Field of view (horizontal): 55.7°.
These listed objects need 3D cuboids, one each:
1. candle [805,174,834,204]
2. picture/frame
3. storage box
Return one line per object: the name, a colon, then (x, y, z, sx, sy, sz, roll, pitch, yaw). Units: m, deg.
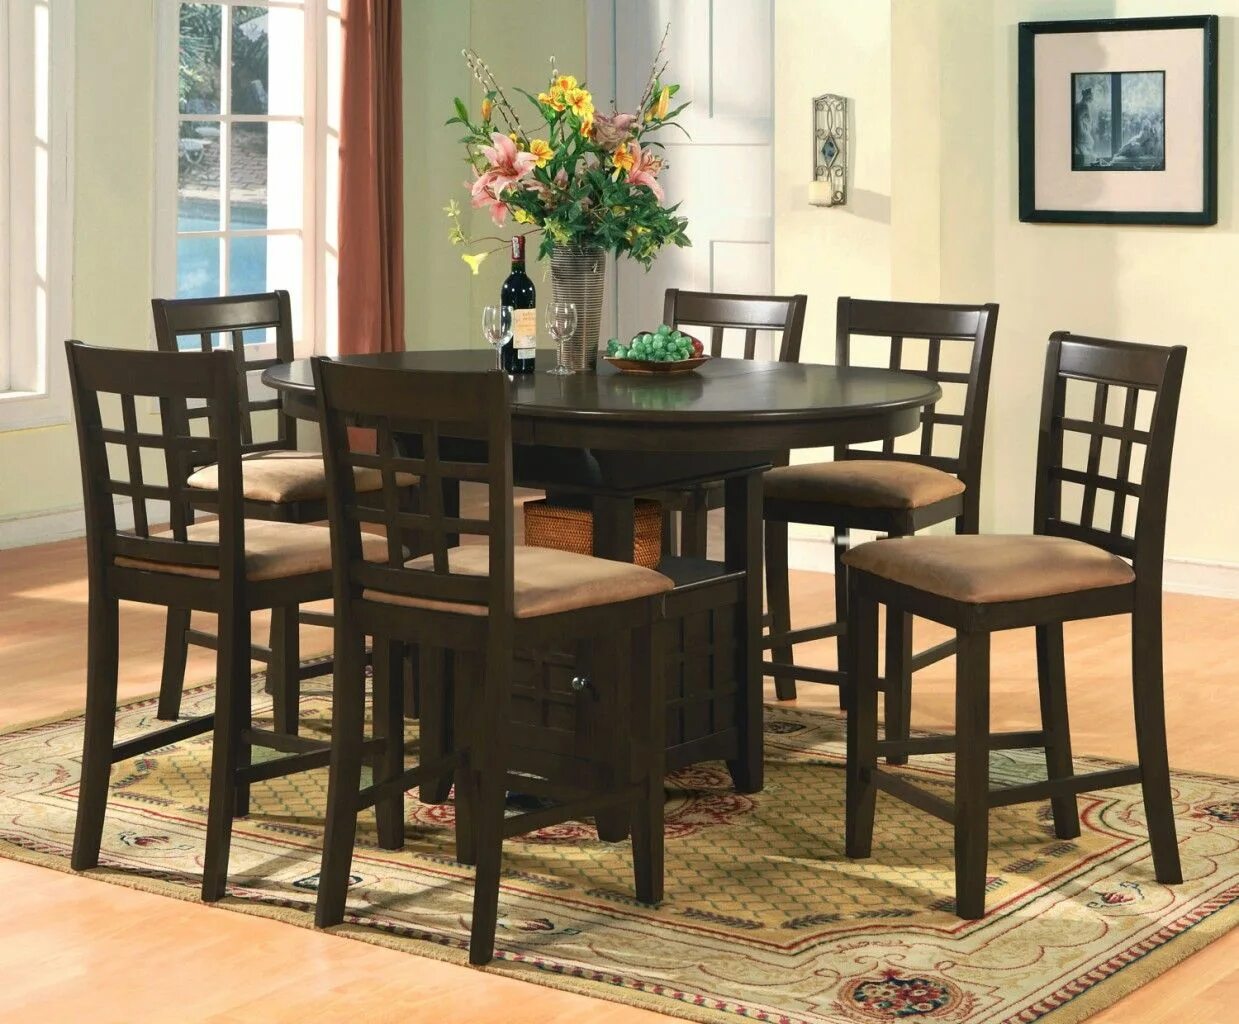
candle: (0.845, -1.368, 5.004, 0.136, 0.098, 0.124, 0, -1, -31)
picture/frame: (1.987, -1.558, 4.686, 0.787, 0.847, 0.055, 6, 12, 30)
storage box: (-0.048, 0.058, 2.778, 0.236, 0.112, 0.232, 4, 6, 39)
